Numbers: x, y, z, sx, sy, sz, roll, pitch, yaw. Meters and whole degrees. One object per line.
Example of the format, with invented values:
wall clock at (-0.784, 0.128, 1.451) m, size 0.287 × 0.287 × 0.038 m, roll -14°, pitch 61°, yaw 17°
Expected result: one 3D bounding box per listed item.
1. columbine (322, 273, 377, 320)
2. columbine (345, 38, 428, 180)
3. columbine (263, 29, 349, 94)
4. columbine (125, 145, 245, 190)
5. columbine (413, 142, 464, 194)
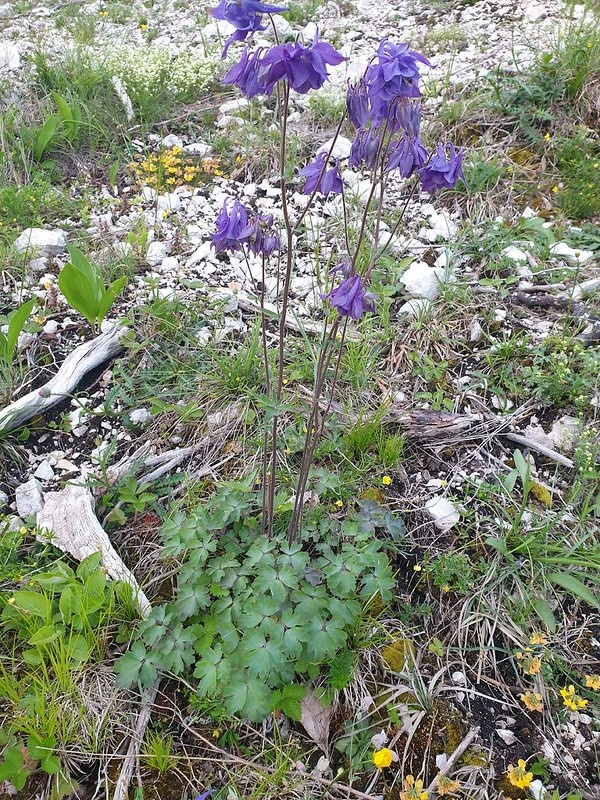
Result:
columbine at (0.140, -0.292, 2.052) m, size 0.142 × 0.115 × 0.140 m, roll 29°, pitch 16°, yaw 6°
columbine at (0.257, -0.847, 2.058) m, size 0.258 × 0.421 × 0.388 m, roll 2°, pitch 34°, yaw 9°
columbine at (0.004, -0.889, 1.834) m, size 0.216 × 0.138 × 0.156 m, roll -7°, pitch 34°, yaw -3°
columbine at (-0.835, -1.559, 4.564) m, size 0.645 × 0.249 × 0.629 m, roll -28°, pitch 40°, yaw -31°
columbine at (0.467, -0.758, 2.334) m, size 0.174 × 0.154 × 0.169 m, roll 16°, pitch 30°, yaw -9°
